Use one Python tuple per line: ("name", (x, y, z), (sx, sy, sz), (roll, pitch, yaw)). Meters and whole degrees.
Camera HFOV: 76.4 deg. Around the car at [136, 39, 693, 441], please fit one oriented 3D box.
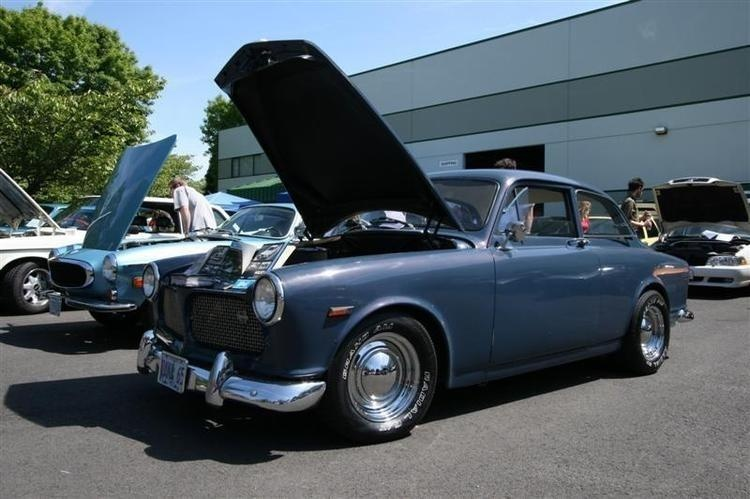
("car", (0.563, 0.067, 5.173), (5.031, 2.577, 2.701), (4, -5, -35))
